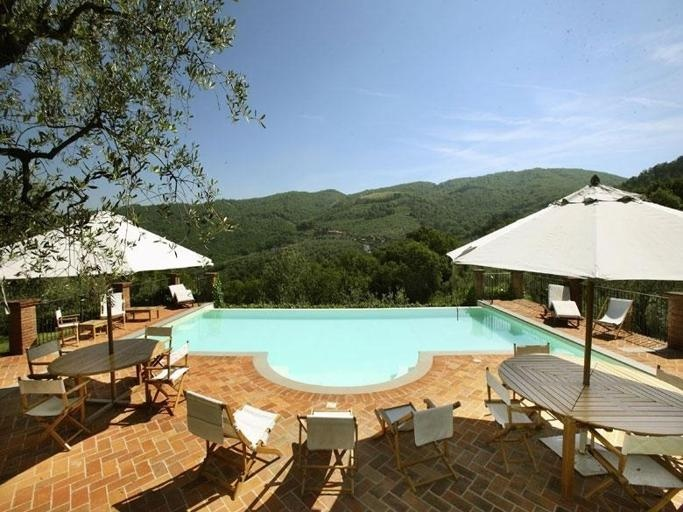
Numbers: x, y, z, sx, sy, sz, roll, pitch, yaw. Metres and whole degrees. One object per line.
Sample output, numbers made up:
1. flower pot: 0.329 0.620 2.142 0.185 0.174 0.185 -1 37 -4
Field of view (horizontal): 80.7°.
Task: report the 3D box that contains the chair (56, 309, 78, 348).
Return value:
1. chair: -7.554 2.088 11.166 0.764 0.997 0.739 -8 -6 39
